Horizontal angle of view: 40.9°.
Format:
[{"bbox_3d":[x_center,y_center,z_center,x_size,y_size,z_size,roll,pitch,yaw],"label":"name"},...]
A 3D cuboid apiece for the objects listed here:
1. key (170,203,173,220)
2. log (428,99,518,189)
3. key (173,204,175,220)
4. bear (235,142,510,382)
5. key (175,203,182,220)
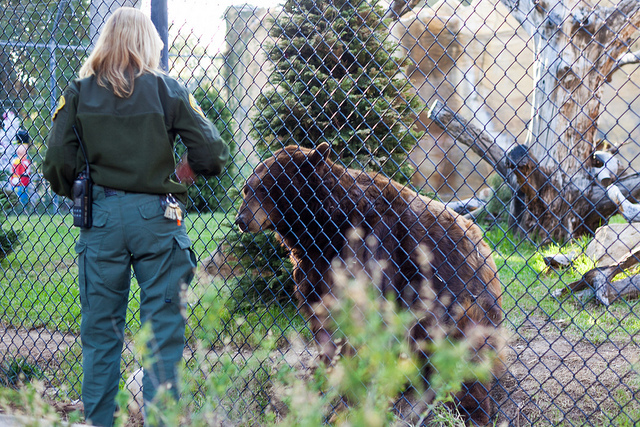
[{"bbox_3d":[-1.741,-0.018,10.020,0.024,0.157,0.030,0,7,-40],"label":"key"},{"bbox_3d":[2.989,-1.323,16.952,2.942,0.625,0.570,47,-15,30],"label":"log"},{"bbox_3d":[-1.712,-0.004,10.034,0.015,0.143,0.025,2,6,-30],"label":"key"},{"bbox_3d":[0.460,0.669,10.230,3.585,2.771,2.855,9,7,18],"label":"bear"},{"bbox_3d":[-1.660,-0.011,10.060,0.034,0.167,0.027,-16,6,15],"label":"key"}]
